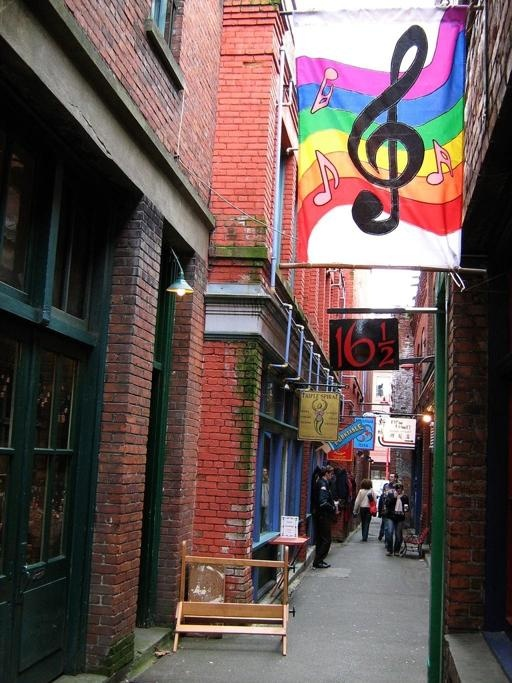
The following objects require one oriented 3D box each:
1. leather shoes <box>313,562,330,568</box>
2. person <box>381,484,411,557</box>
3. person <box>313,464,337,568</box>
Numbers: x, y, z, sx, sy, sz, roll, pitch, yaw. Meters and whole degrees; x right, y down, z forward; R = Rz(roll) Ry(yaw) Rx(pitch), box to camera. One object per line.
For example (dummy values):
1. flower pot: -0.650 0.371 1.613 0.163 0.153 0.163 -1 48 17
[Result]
1. leather shoes: 1.538 5.218 14.093 0.386 0.207 0.149 -3 -10 8
2. person: 4.162 5.257 17.961 0.678 2.046 1.347 1 -12 12
3. person: 1.597 4.146 14.287 0.506 2.294 0.976 2 -11 6
